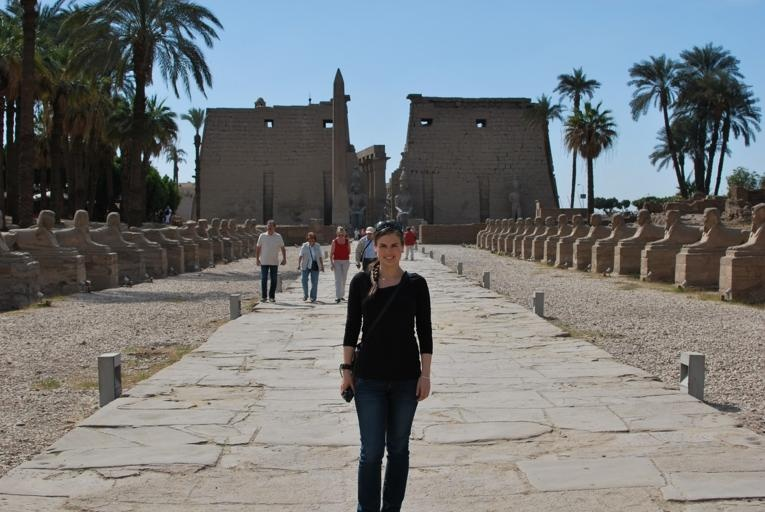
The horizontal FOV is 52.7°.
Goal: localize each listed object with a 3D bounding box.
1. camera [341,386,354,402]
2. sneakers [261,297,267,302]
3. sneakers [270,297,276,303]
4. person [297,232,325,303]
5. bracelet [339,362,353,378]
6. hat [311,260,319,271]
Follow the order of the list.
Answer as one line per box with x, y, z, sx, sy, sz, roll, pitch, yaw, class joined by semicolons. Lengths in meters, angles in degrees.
-0.359;1.258;7.056;0.117;0.173;0.185;0;-10;7;camera
-2.592;0.946;16.597;0.112;0.049;0.147;0;3;-6;sneakers
-2.399;0.943;16.528;0.121;0.104;0.120;-3;-7;40;sneakers
-1.589;0.250;16.708;0.475;1.435;1.089;0;4;-6;person
-0.344;1.037;7.095;0.215;0.126;0.259;0;-9;-6;bracelet
-1.484;0.216;16.634;0.185;0.230;0.116;-1;5;-13;hat
